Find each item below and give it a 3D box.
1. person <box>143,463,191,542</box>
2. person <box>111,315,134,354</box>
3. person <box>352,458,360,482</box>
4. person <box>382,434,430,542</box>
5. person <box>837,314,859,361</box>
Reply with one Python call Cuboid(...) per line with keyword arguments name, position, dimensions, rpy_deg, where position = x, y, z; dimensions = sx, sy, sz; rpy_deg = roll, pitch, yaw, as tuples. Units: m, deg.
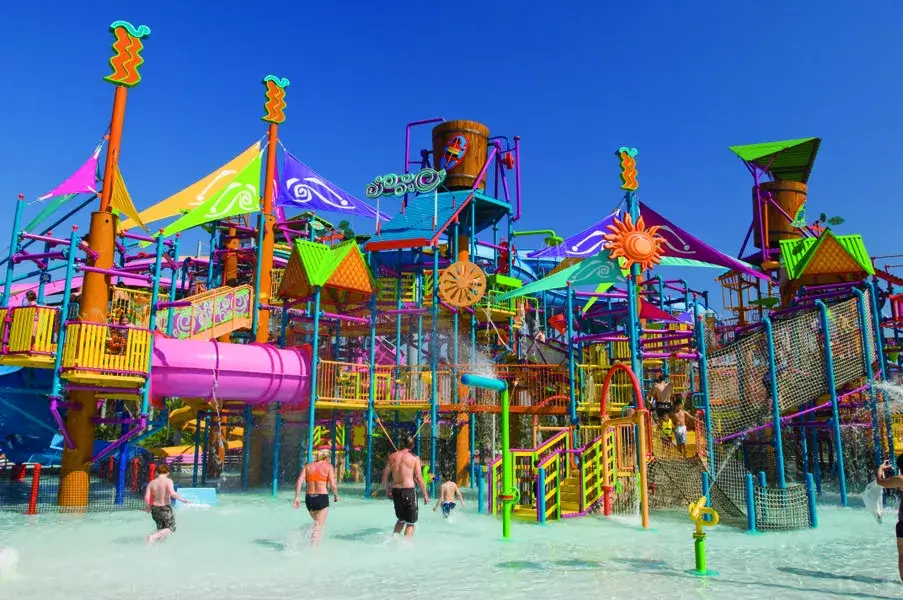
Cuboid(name="person", position=(-5.773, 4.147, 14.152), dimensions=(0.810, 1.659, 0.749), rpy_deg=(-4, -10, -2))
Cuboid(name="person", position=(-8.235, 0.908, 17.635), dimensions=(0.343, 0.859, 0.534), rpy_deg=(11, -19, -38))
Cuboid(name="person", position=(-3.747, 6.703, 27.956), dimensions=(0.388, 0.843, 1.735), rpy_deg=(1, -15, -7))
Cuboid(name="person", position=(-0.928, 3.735, 14.189), dimensions=(0.818, 1.963, 1.044), rpy_deg=(0, -15, -3))
Cuboid(name="person", position=(10.826, 0.962, 19.428), dimensions=(0.587, 1.115, 0.159), rpy_deg=(3, -15, -15))
